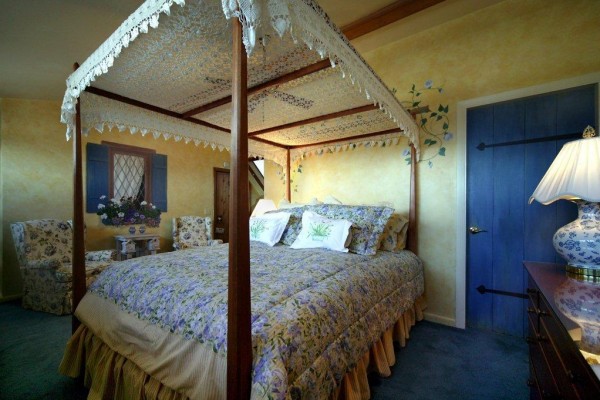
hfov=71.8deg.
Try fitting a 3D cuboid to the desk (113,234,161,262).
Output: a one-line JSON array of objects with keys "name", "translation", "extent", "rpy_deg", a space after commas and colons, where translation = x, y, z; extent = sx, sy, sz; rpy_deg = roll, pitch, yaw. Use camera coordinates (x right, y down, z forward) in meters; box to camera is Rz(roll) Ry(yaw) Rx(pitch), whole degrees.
[{"name": "desk", "translation": [-2.710, 0.737, 6.892], "extent": [0.420, 0.606, 0.632], "rpy_deg": [1, 0, 30]}]

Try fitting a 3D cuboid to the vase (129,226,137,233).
[{"name": "vase", "translation": [-2.762, 0.480, 6.889], "extent": [0.092, 0.117, 0.128], "rpy_deg": [-4, -10, 38]}]

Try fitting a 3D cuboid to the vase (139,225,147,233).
[{"name": "vase", "translation": [-2.643, 0.483, 6.972], "extent": [0.115, 0.111, 0.115], "rpy_deg": [-2, -7, -28]}]

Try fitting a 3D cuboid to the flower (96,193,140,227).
[{"name": "flower", "translation": [-3.001, 0.184, 6.818], "extent": [0.447, 0.393, 0.534], "rpy_deg": [2, -3, 21]}]
